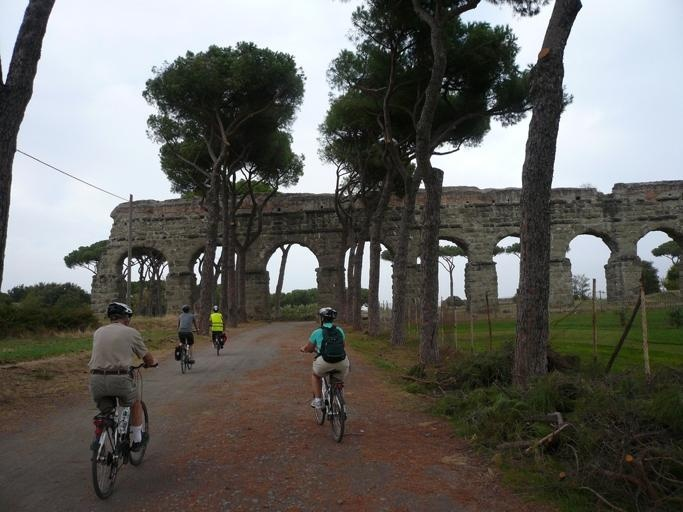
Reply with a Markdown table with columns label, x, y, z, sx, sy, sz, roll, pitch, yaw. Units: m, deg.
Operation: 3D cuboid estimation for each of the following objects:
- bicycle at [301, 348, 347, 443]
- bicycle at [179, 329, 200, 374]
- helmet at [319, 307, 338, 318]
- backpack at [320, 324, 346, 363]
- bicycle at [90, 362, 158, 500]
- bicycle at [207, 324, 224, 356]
| label | x | y | z | sx | sy | sz | roll | pitch | yaw |
| --- | --- | --- | --- | --- | --- | --- | --- | --- | --- |
| bicycle | -0.272 | 2.339 | 9.533 | 0.816 | 1.210 | 1.830 | 1 | -13 | -12 |
| bicycle | -3.983 | 2.441 | 14.721 | 0.551 | 0.774 | 1.214 | 1 | -3 | -7 |
| helmet | -0.248 | 0.954 | 9.570 | 0.155 | 0.146 | 0.232 | 5 | 8 | -19 |
| backpack | -0.141 | 1.442 | 9.462 | 0.360 | 0.630 | 0.362 | -5 | -12 | -5 |
| bicycle | -2.947 | 2.447 | 7.733 | 0.753 | 1.120 | 1.698 | -3 | -4 | -3 |
| bicycle | -3.997 | 2.667 | 18.268 | 0.374 | 0.572 | 0.893 | 1 | -5 | -5 |
